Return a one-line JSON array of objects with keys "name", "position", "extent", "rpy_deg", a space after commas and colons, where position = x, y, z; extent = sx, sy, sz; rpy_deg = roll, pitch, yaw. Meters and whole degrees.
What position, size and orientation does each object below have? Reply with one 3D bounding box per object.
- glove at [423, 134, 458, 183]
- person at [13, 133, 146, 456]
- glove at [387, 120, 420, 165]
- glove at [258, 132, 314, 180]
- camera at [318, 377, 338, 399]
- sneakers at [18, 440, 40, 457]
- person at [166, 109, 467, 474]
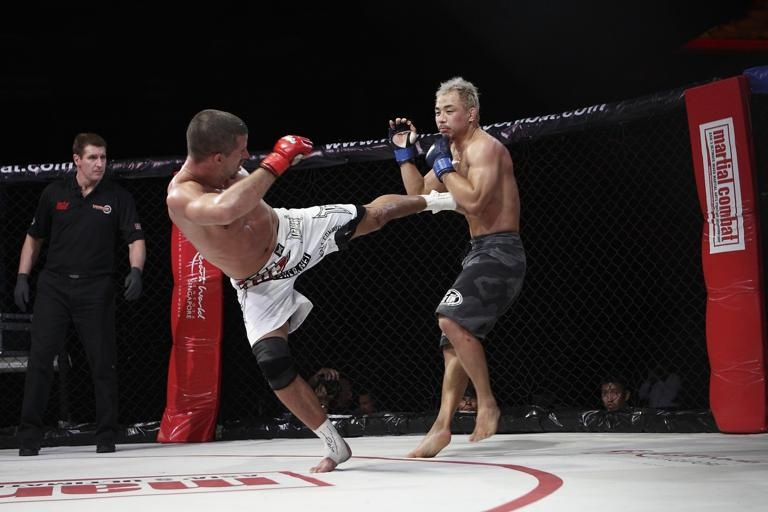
[{"name": "glove", "position": [0.334, -0.524, 3.721], "extent": [0.124, 0.228, 0.196], "rpy_deg": [0, -18, -45]}, {"name": "person", "position": [-1.896, 0.213, 4.267], "extent": [0.778, 1.935, 0.347], "rpy_deg": [-1, -6, -13]}, {"name": "glove", "position": [0.116, -0.672, 4.033], "extent": [0.250, 0.250, 0.130], "rpy_deg": [-4, -3, 8]}, {"name": "glove", "position": [-0.449, -0.463, 3.120], "extent": [0.186, 0.233, 0.071], "rpy_deg": [19, -38, 14]}, {"name": "camera", "position": [-0.383, 0.923, 4.767], "extent": [0.117, 0.135, 0.058], "rpy_deg": [-9, 12, -33]}, {"name": "sneakers", "position": [-2.075, 1.120, 4.012], "extent": [0.103, 0.086, 0.132], "rpy_deg": [0, -6, -26]}, {"name": "person", "position": [-0.447, 0.160, 3.282], "extent": [1.024, 1.672, 0.466], "rpy_deg": [2, -8, -38]}]
